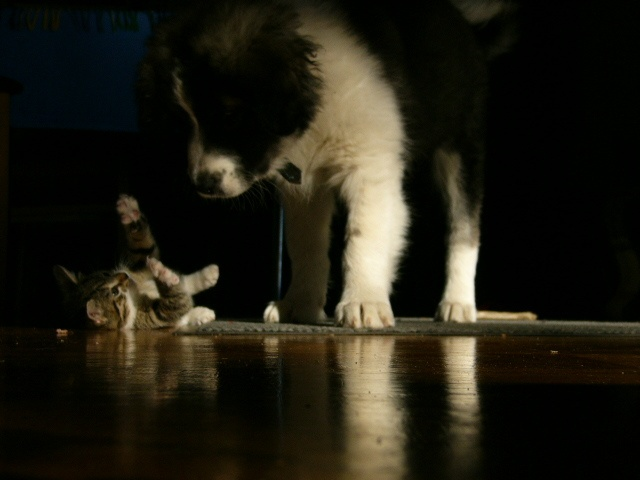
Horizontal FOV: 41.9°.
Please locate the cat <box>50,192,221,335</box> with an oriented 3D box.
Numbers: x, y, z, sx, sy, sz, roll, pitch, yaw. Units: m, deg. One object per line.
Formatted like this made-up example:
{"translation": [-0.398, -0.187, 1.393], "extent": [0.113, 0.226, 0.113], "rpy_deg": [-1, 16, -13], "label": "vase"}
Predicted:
{"translation": [-0.653, 0.092, 3.282], "extent": [0.820, 0.599, 0.304], "rpy_deg": [-3, 13, -24], "label": "cat"}
